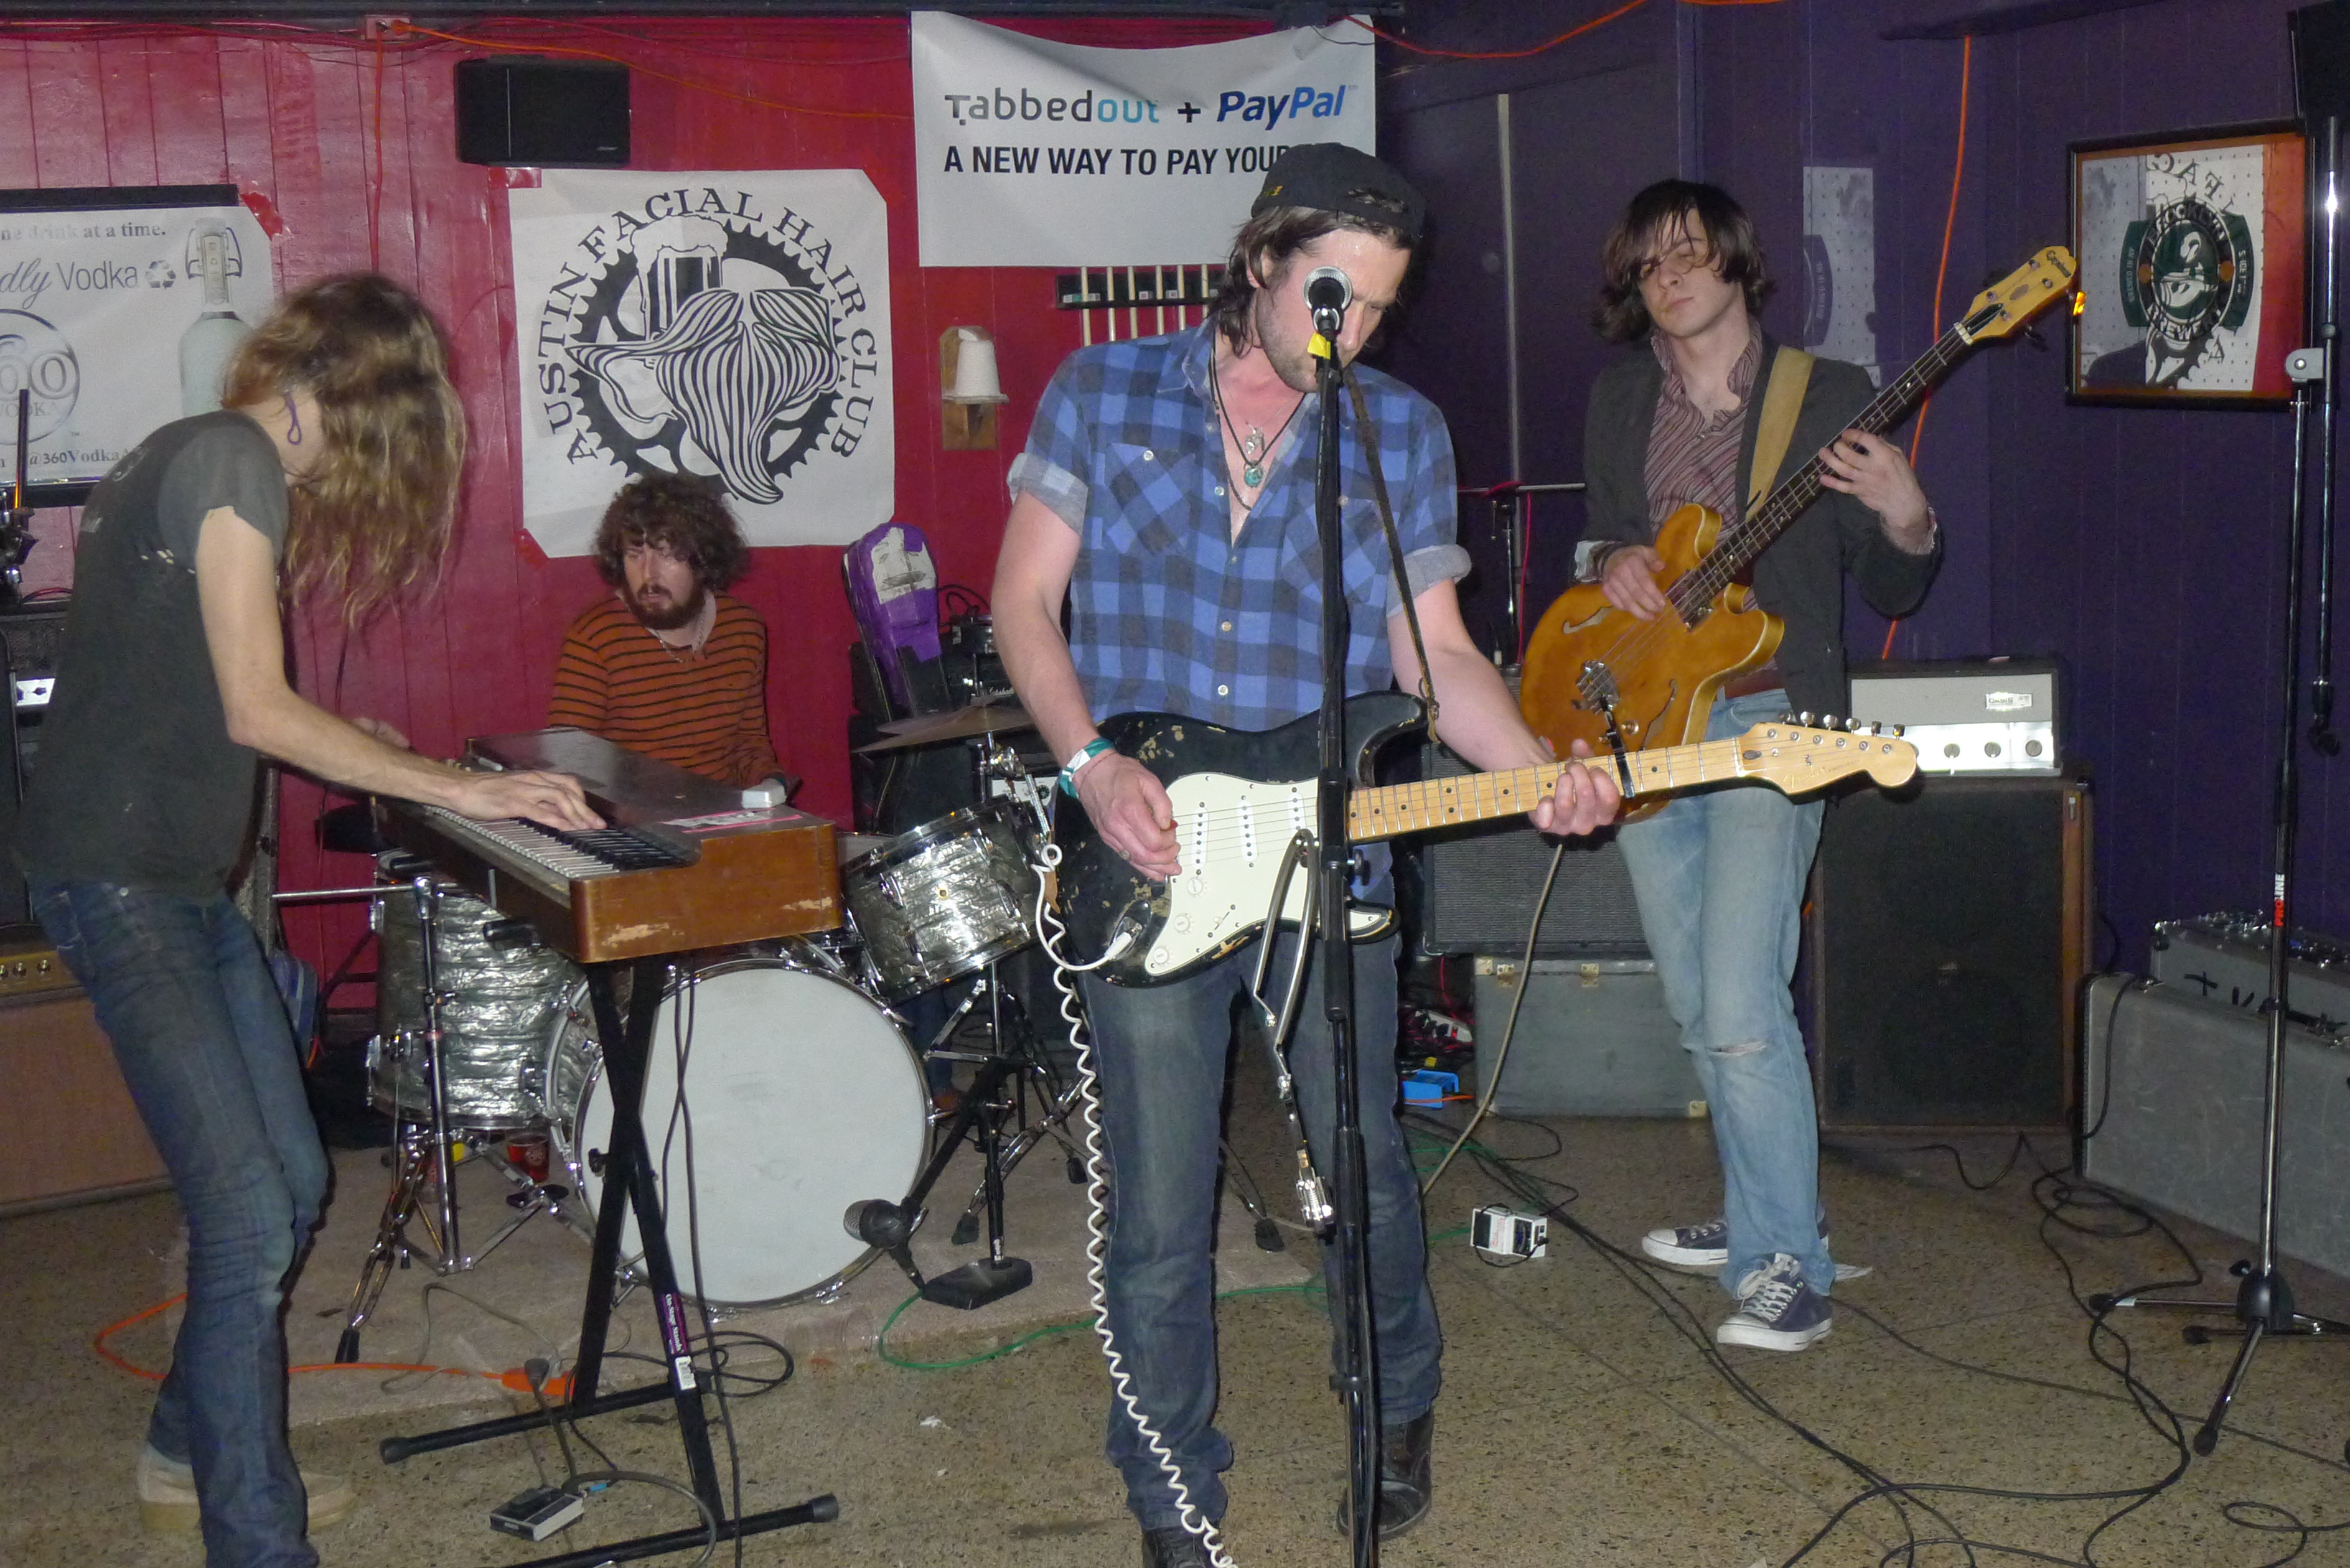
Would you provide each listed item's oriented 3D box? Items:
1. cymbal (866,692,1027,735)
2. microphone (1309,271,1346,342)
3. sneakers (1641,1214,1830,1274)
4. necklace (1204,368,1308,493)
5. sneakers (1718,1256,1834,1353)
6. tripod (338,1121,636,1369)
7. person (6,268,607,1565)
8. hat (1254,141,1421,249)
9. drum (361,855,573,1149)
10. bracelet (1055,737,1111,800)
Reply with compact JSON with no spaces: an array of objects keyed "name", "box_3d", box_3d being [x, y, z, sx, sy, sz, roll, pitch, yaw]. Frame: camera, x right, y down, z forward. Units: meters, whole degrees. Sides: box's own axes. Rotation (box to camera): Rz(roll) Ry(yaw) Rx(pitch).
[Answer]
[{"name":"cymbal","box_3d":[-0.668,-0.206,6.022,0.485,0.026,0.166,-7,46,11]},{"name":"microphone","box_3d":[0.255,-0.806,3.497,0.063,0.115,0.044,-1,11,2]},{"name":"sneakers","box_3d":[1.424,1.180,5.295,0.473,0.201,0.179,1,-2,2]},{"name":"necklace","box_3d":[0.148,-0.674,3.939,0.174,0.305,0.123,6,8,1]},{"name":"sneakers","box_3d":[1.407,1.228,4.841,0.326,0.158,0.146,14,-9,-43]},{"name":"tripod","box_3d":[-1.847,1.184,5.426,0.618,0.522,0.616,3,-4,-19]},{"name":"person","box_3d":[-1.815,0.304,4.132,0.893,2.618,0.635,-6,11,-21]},{"name":"hat","box_3d":[0.293,-1.087,3.760,0.252,0.140,0.189,-11,40,-21]},{"name":"drum","box_3d":[-1.783,0.517,5.294,0.639,0.741,0.648,-1,5,-29]},{"name":"bracelet","box_3d":[-0.179,-0.031,3.898,0.039,0.109,0.105,25,23,20]}]
